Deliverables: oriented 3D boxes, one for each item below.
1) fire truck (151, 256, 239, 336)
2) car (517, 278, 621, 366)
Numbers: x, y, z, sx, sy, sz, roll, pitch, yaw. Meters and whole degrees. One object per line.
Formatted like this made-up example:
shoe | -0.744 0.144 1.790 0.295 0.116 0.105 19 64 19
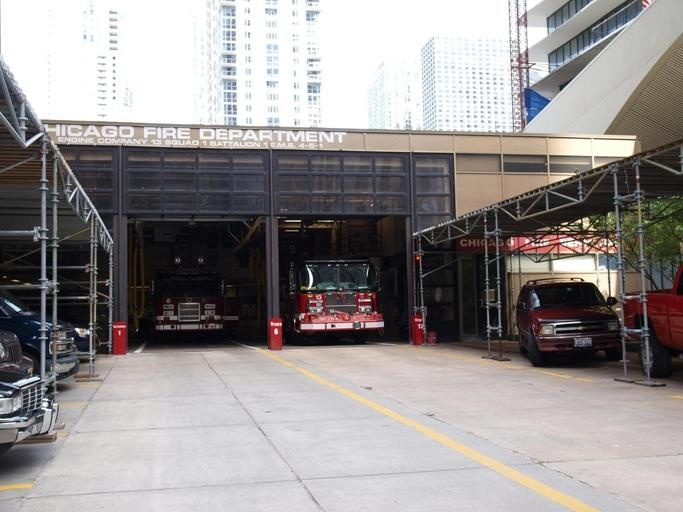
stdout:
fire truck | -6.809 1.877 33.268 4.572 3.649 7.670 0 -2 -11
car | 6.026 1.684 19.292 2.236 2.346 2.406 -2 -7 4
